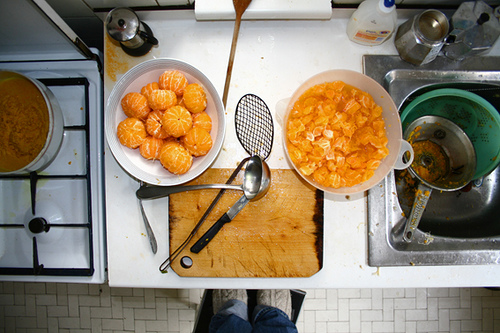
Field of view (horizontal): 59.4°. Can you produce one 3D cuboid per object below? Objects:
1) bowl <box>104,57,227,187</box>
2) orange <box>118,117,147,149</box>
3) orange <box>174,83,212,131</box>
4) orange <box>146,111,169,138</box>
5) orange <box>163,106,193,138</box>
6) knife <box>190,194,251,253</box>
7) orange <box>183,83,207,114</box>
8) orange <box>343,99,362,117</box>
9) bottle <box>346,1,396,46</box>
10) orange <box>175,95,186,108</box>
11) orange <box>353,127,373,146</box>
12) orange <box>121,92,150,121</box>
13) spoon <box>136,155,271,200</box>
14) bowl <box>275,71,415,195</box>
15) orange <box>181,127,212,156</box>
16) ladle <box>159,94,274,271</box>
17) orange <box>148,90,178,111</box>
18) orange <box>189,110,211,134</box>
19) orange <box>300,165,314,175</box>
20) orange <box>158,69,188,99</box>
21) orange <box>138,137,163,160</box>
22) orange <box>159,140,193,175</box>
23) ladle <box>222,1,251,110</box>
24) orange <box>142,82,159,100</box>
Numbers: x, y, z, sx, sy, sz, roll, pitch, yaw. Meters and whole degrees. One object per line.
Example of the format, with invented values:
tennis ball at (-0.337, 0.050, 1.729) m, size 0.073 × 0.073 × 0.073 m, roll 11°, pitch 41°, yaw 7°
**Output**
bowl at (-0.399, -0.319, 2.135) m, size 0.491 × 0.516 × 0.258 m, roll -9°, pitch 83°, yaw -27°
orange at (-0.524, -0.150, 1.989) m, size 0.115 × 0.112 × 0.122 m, roll 31°, pitch 95°, yaw -7°
orange at (-0.254, -0.279, 1.920) m, size 0.137 × 0.077 × 0.208 m, roll 6°, pitch 108°, yaw 26°
orange at (-0.419, -0.187, 1.937) m, size 0.095 × 0.041 × 0.106 m, roll -18°, pitch 94°, yaw -2°
orange at (-0.323, -0.200, 1.933) m, size 0.125 × 0.048 × 0.130 m, roll 13°, pitch 85°, yaw 2°
knife at (-0.144, 0.274, 2.040) m, size 0.364 × 0.073 × 0.042 m, roll -44°, pitch 85°, yaw -3°
orange at (-0.256, -0.303, 1.986) m, size 0.112 × 0.064 × 0.116 m, roll 36°, pitch 74°, yaw -15°
orange at (0.469, -0.273, 2.018) m, size 0.062 × 0.031 × 0.072 m, roll 41°, pitch 86°, yaw 4°
bottle at (0.556, -0.670, 2.010) m, size 0.179 × 0.267 × 0.109 m, roll 7°, pitch 70°, yaw 5°
orange at (-0.317, -0.297, 1.966) m, size 0.039 × 0.045 × 0.040 m, roll 49°, pitch 115°, yaw 34°
orange at (0.527, -0.151, 2.025) m, size 0.072 × 0.038 × 0.085 m, roll 33°, pitch 86°, yaw 3°
orange at (-0.510, -0.268, 2.002) m, size 0.113 × 0.118 × 0.123 m, roll -38°, pitch 108°, yaw -12°
spoon at (-0.203, 0.060, 2.006) m, size 0.617 × 0.235 × 0.207 m, roll -2°, pitch 109°, yaw -18°
bowl at (0.419, -0.157, 2.000) m, size 0.521 × 0.111 × 0.558 m, roll 0°, pitch 85°, yaw 0°
orange at (-0.251, -0.129, 1.985) m, size 0.119 × 0.123 × 0.130 m, roll -20°, pitch 124°, yaw 9°
ladle at (-0.168, 0.240, 1.961) m, size 0.785 × 0.169 × 0.119 m, roll -44°, pitch 125°, yaw -18°
orange at (-0.387, -0.295, 1.926) m, size 0.087 × 0.093 × 0.097 m, roll -2°, pitch 86°, yaw -8°
orange at (-0.215, -0.206, 1.965) m, size 0.078 × 0.084 × 0.088 m, roll -9°, pitch 99°, yaw 24°
orange at (0.261, 0.019, 2.008) m, size 0.065 × 0.031 × 0.039 m, roll 24°, pitch 86°, yaw 3°
orange at (-0.348, -0.336, 1.976) m, size 0.119 × 0.122 × 0.135 m, roll -8°, pitch 76°, yaw -2°
orange at (-0.444, -0.080, 1.948) m, size 0.084 × 0.090 × 0.097 m, roll 5°, pitch 79°, yaw -5°
orange at (-0.336, -0.042, 1.938) m, size 0.155 × 0.052 × 0.118 m, roll 34°, pitch 86°, yaw 3°
ladle at (-0.071, -0.524, 2.040) m, size 0.086 × 0.112 × 0.495 m, roll 8°, pitch 85°, yaw 2°
orange at (-0.448, -0.336, 1.950) m, size 0.062 × 0.027 × 0.070 m, roll -3°, pitch 87°, yaw -2°
